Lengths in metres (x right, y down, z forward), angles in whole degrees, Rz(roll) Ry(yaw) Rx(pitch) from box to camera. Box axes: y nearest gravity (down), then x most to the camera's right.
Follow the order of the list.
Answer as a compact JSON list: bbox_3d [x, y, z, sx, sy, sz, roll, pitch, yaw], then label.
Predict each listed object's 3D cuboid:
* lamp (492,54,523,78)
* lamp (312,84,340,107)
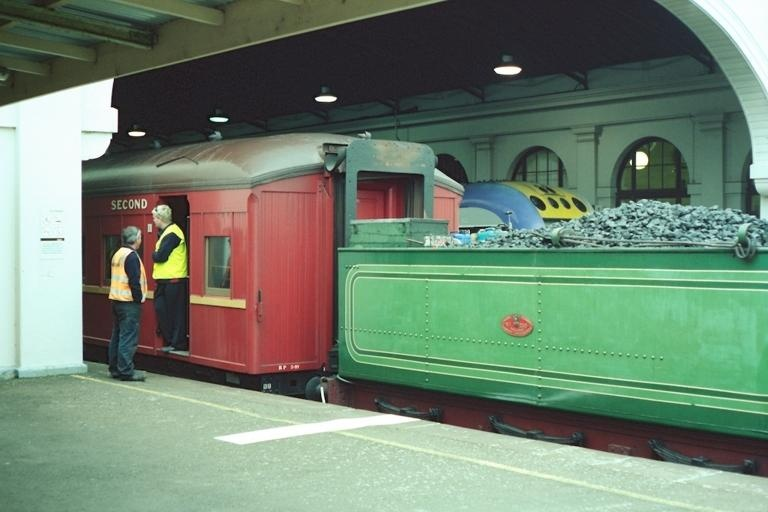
[{"bbox_3d":[2.876,-4.454,19.086,0.564,0.412,0.576,0,-6,5],"label":"lamp"},{"bbox_3d":[-1.539,-4.373,21.540,0.689,0.411,0.705,-1,-7,7],"label":"lamp"}]
